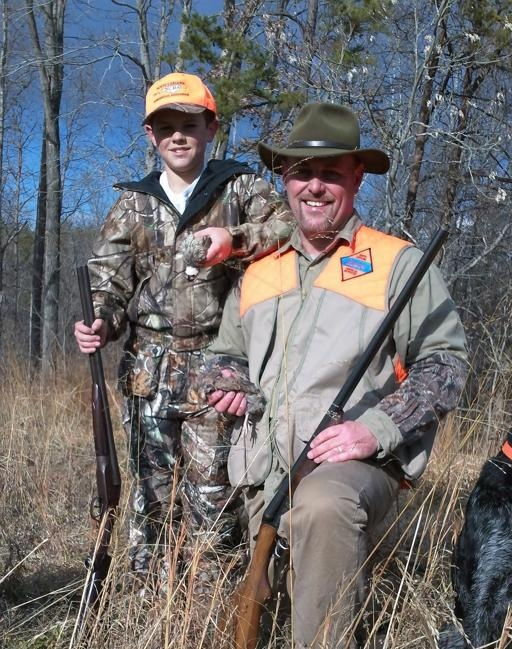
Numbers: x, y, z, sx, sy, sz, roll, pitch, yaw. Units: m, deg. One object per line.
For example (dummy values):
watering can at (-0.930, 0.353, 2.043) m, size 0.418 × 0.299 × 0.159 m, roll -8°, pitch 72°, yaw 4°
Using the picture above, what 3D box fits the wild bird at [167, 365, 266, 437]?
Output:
wild bird at (-0.148, 0.325, 2.983) m, size 0.325 × 0.266 × 0.412 m, roll -5°, pitch 7°, yaw -42°

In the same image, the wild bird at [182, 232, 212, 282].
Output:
wild bird at (-0.257, -0.296, 2.899) m, size 0.127 × 0.174 × 0.087 m, roll 11°, pitch 5°, yaw 29°

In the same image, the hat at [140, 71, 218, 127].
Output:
hat at (-0.370, -1.110, 3.364) m, size 0.350 × 0.274 × 0.258 m, roll 9°, pitch 13°, yaw -9°

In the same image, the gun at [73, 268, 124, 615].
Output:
gun at (-0.682, 0.413, 2.833) m, size 0.355 × 1.214 × 0.304 m, roll -2°, pitch 13°, yaw -24°

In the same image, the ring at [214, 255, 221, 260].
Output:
ring at (-0.168, -0.292, 2.939) m, size 0.005 × 0.019 × 0.019 m, roll 53°, pitch 35°, yaw 2°

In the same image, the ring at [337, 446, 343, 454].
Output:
ring at (0.285, 0.429, 2.342) m, size 0.022 × 0.020 × 0.006 m, roll -6°, pitch 0°, yaw 28°
